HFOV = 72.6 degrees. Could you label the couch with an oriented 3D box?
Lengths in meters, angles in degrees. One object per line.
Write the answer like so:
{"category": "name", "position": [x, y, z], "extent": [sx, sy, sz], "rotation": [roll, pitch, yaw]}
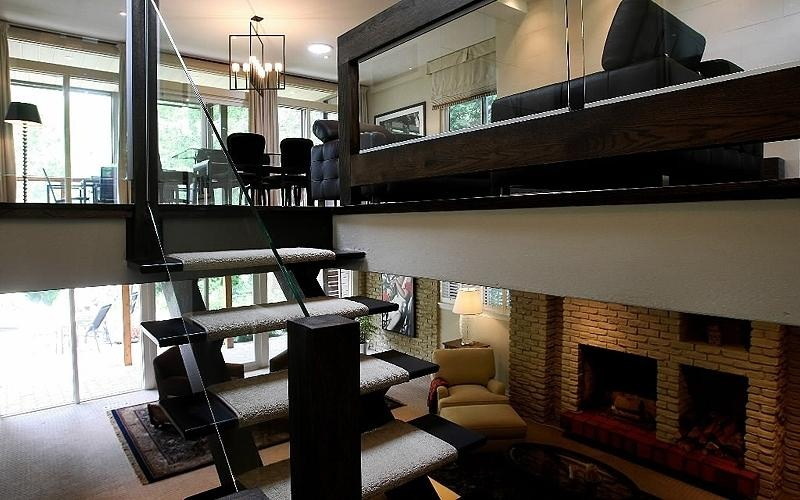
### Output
{"category": "couch", "position": [-0.217, -0.966, 5.849], "extent": [1.437, 0.662, 0.801], "rotation": [-11, 5, -30]}

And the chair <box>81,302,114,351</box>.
{"category": "chair", "position": [-4.606, 1.159, 8.347], "extent": [0.618, 0.765, 0.451], "rotation": [3, -3, -39]}

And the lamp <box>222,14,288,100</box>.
{"category": "lamp", "position": [-1.939, -2.664, 7.398], "extent": [0.808, 0.947, 0.770], "rotation": [1, 7, 0]}

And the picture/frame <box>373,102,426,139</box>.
{"category": "picture/frame", "position": [0.009, -0.870, 3.710], "extent": [0.385, 0.202, 0.010], "rotation": [12, 20, 39]}

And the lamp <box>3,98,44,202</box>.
{"category": "lamp", "position": [-2.389, -0.624, 3.454], "extent": [0.164, 0.609, 0.280], "rotation": [-3, 15, -4]}

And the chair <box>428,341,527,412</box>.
{"category": "chair", "position": [0.914, 1.853, 7.761], "extent": [1.029, 0.793, 1.241], "rotation": [-1, 14, 1]}

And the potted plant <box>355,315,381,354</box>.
{"category": "potted plant", "position": [-0.687, 1.612, 10.032], "extent": [0.411, 0.625, 0.383], "rotation": [-4, -9, 36]}
